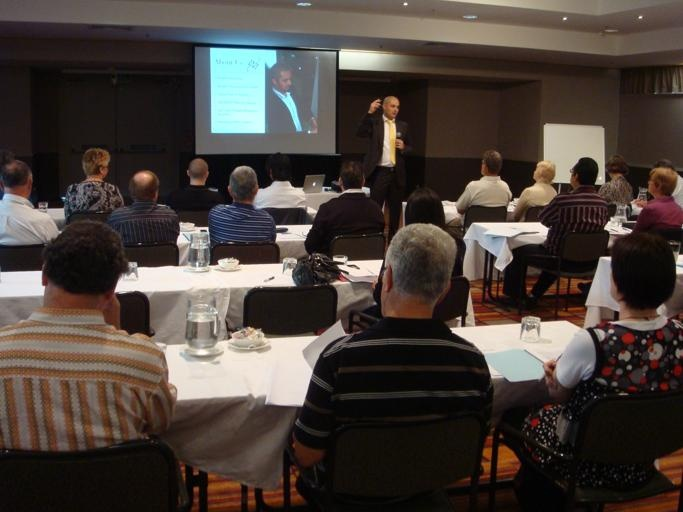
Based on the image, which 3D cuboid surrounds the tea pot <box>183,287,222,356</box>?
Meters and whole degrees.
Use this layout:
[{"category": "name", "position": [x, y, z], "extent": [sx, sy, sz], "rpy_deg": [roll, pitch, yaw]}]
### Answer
[{"category": "tea pot", "position": [-0.571, 0.263, 2.388], "extent": [0.161, 0.256, 0.142], "rpy_deg": [5, 12, 12]}]

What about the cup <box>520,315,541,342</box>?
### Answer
[{"category": "cup", "position": [0.885, 0.333, 2.715], "extent": [0.103, 0.122, 0.109], "rpy_deg": [-1, 9, 0]}]

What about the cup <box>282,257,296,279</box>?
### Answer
[{"category": "cup", "position": [-0.321, 0.055, 3.568], "extent": [0.063, 0.103, 0.110], "rpy_deg": [1, 4, -5]}]

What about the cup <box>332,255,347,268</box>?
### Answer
[{"category": "cup", "position": [-0.015, 0.030, 3.738], "extent": [0.070, 0.059, 0.071], "rpy_deg": [1, 2, 0]}]
